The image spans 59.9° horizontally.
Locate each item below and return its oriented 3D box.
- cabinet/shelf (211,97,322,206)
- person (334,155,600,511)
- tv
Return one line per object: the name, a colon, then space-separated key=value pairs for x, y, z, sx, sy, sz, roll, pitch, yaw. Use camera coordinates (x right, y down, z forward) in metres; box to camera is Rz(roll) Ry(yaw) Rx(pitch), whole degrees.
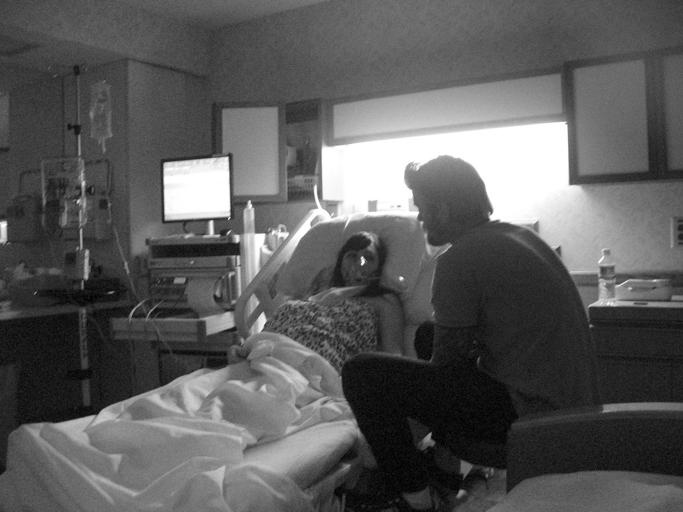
cabinet/shelf: x=-0.447 y=-0.622 z=3.551 sx=0.690 sy=0.613 sz=0.243 roll=0 pitch=1 yaw=6
person: x=0.451 y=0.264 z=2.071 sx=0.849 sy=1.326 sz=0.753 roll=-5 pitch=-8 yaw=33
tv: x=-0.844 y=-0.369 z=3.426 sx=0.553 sy=0.499 sz=0.203 roll=-1 pitch=-3 yaw=19
